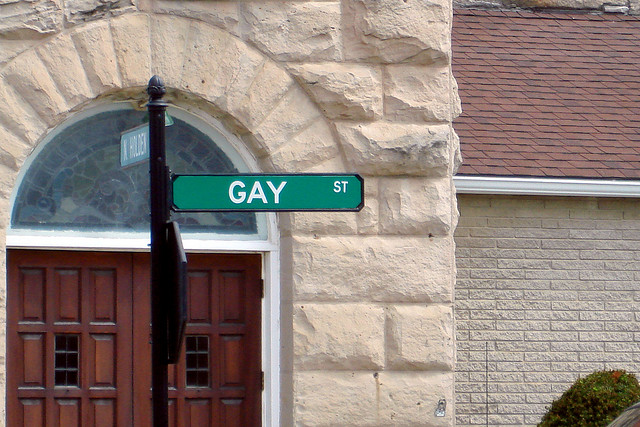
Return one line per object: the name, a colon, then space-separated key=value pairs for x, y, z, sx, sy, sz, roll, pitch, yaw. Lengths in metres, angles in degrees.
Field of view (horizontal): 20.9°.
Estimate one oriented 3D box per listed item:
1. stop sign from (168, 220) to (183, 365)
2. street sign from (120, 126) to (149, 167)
stop sign: x=-1.383 y=0.727 z=16.459 sx=0.136 sy=1.319 sz=0.411 roll=-1 pitch=-16 yaw=-10
street sign: x=-1.750 y=-0.651 z=16.685 sx=0.068 sy=0.401 sz=0.660 roll=10 pitch=-14 yaw=-35
